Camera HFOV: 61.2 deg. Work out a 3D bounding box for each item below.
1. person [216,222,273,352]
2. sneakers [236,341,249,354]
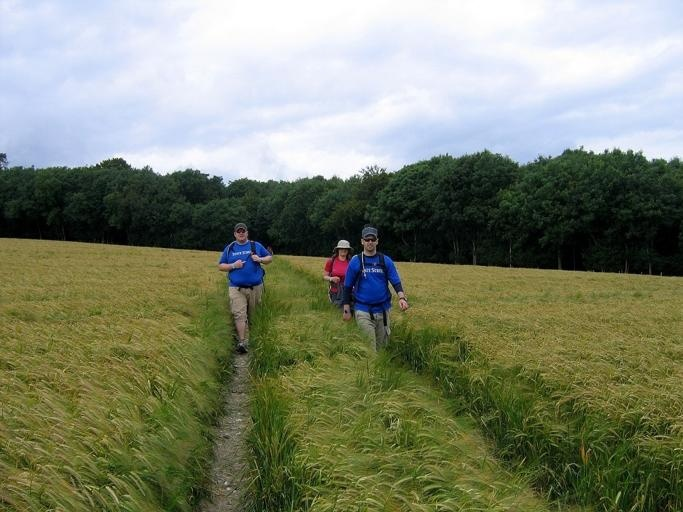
[{"bbox_3d":[-1.960,0.566,11.504,0.911,2.263,1.275,-2,1,14],"label":"person"},{"bbox_3d":[-1.888,1.724,10.909,0.218,0.195,0.420,-2,1,-11],"label":"sneakers"}]
